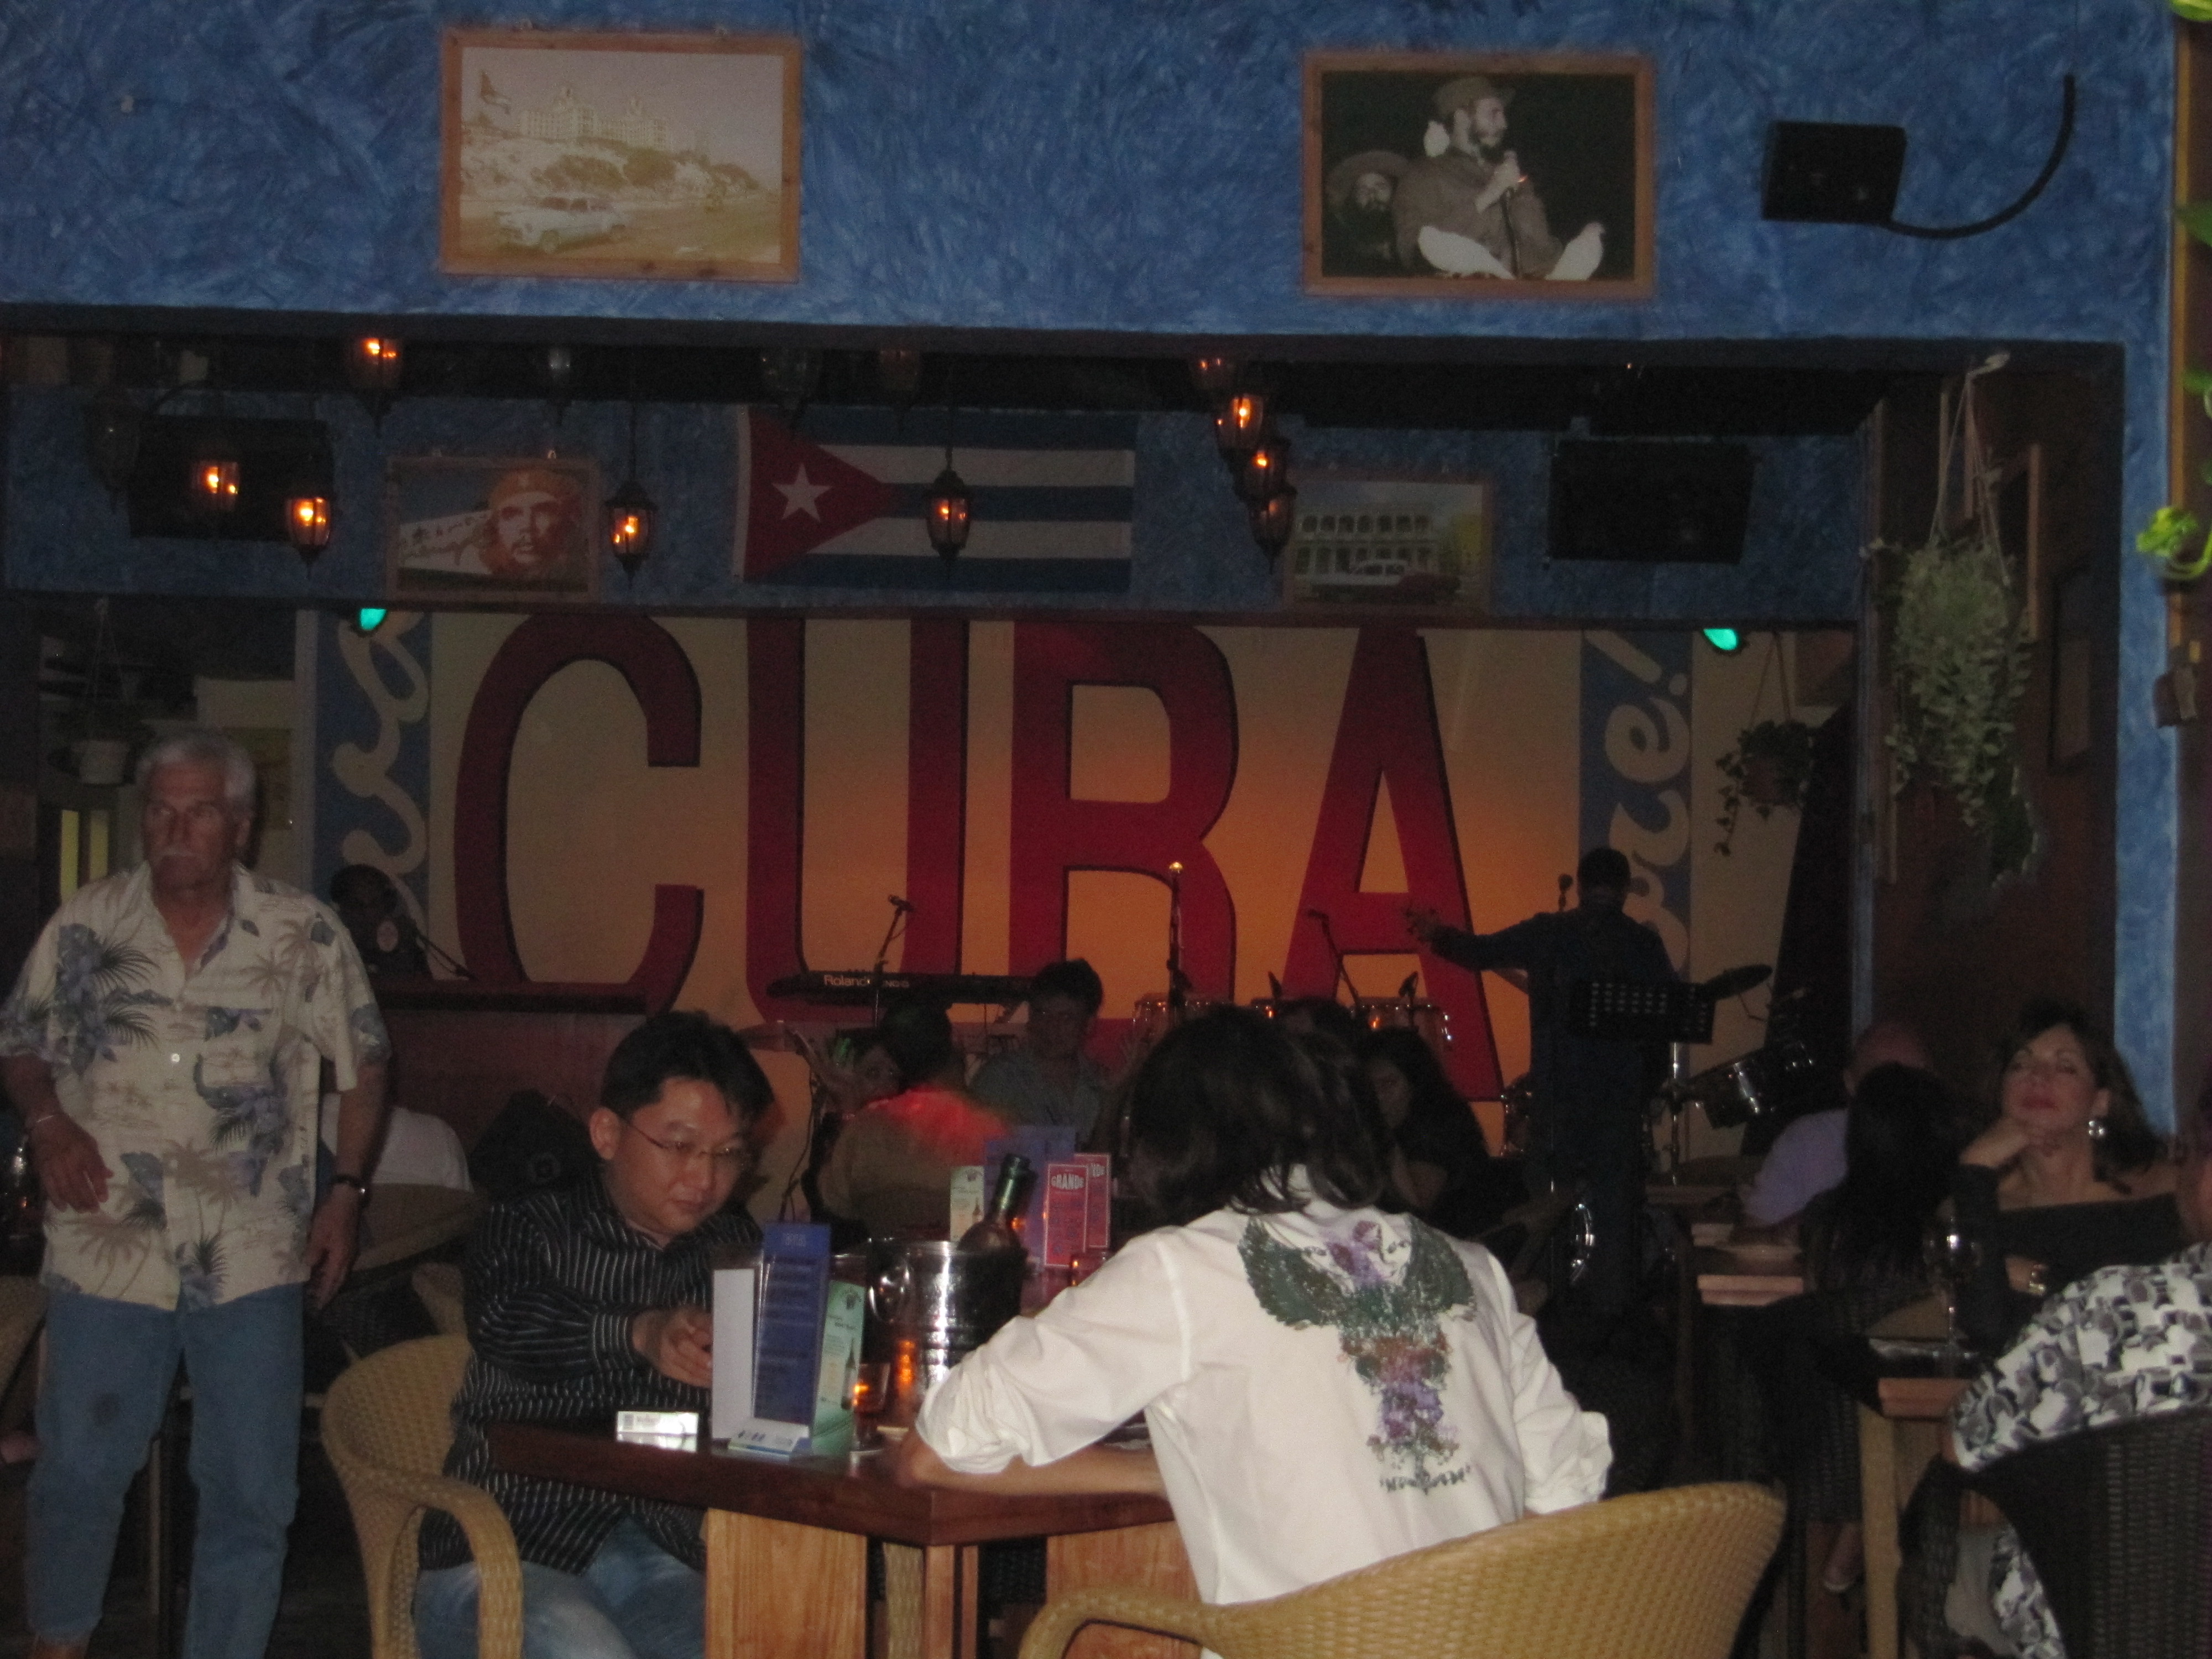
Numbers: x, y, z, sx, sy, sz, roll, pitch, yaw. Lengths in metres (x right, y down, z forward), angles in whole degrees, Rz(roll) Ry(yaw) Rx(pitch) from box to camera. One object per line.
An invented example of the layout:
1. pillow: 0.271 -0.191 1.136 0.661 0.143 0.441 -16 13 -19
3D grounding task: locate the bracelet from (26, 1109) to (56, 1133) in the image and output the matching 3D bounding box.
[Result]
1. bracelet: -2.308 0.634 7.773 0.043 0.035 0.043 8 -10 -40

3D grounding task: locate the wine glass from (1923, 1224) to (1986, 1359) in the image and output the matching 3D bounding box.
1. wine glass: 1.860 1.013 7.911 0.124 0.324 0.120 6 17 30

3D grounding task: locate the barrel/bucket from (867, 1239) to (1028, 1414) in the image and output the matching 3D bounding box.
1. barrel/bucket: -0.313 0.949 6.875 0.274 0.347 0.309 0 -1 0

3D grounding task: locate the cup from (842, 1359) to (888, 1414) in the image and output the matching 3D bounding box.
1. cup: -0.452 1.043 6.702 0.073 0.096 0.077 0 -4 0

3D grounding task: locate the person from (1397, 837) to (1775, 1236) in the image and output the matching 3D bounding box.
1. person: 1.582 0.701 11.569 0.996 1.234 0.485 -2 -31 8

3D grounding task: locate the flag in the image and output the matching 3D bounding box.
1. flag: -0.598 -1.146 12.571 1.409 0.723 0.016 0 -21 -9
